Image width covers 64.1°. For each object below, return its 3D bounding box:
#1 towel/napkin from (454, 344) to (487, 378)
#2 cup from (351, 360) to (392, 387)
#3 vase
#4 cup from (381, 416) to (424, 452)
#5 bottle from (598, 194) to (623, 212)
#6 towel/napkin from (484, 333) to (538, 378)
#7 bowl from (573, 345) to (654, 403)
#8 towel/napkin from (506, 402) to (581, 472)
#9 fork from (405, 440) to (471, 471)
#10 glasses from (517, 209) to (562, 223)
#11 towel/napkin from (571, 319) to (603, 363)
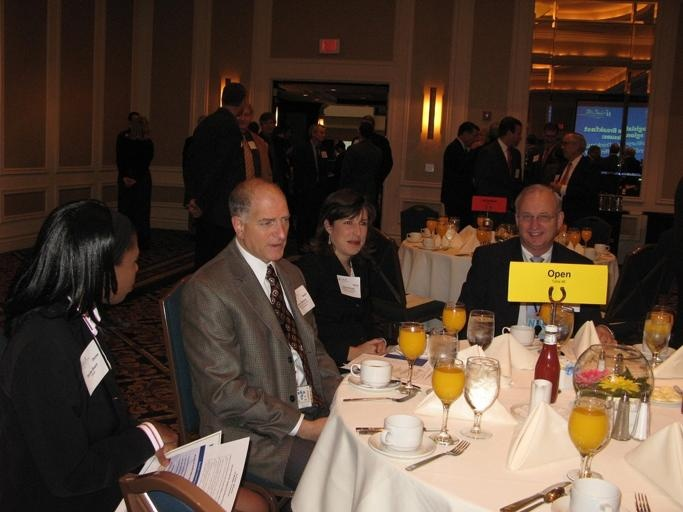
[{"bbox_3d":[0.458,0.376,1.932,0.086,0.102,0.100,0,-2,13],"label":"towel/napkin"},{"bbox_3d":[0.121,0.411,1.910,0.093,0.054,0.073,-1,2,19],"label":"cup"},{"bbox_3d":[0.818,0.352,1.634,0.171,0.178,0.179,0,1,-5],"label":"vase"},{"bbox_3d":[0.160,0.475,1.475,0.101,0.054,0.074,-10,17,-39],"label":"cup"},{"bbox_3d":[3.611,-0.704,7.339,0.243,0.185,0.250,-2,5,0],"label":"bottle"},{"bbox_3d":[0.659,0.381,2.076,0.137,0.085,0.182,-3,-12,44],"label":"towel/napkin"},{"bbox_3d":[0.812,0.333,1.638,0.163,0.170,0.172,1,2,0],"label":"bowl"},{"bbox_3d":[0.540,0.438,1.447,0.174,0.095,0.167,-11,19,-36],"label":"towel/napkin"},{"bbox_3d":[0.253,0.532,1.449,0.164,0.019,0.027,-14,21,-36],"label":"fork"},{"bbox_3d":[1.025,-0.201,2.834,0.219,0.057,0.131,3,6,17],"label":"glasses"},{"bbox_3d":[0.914,0.316,2.028,0.127,0.149,0.105,-6,12,-15],"label":"towel/napkin"}]
